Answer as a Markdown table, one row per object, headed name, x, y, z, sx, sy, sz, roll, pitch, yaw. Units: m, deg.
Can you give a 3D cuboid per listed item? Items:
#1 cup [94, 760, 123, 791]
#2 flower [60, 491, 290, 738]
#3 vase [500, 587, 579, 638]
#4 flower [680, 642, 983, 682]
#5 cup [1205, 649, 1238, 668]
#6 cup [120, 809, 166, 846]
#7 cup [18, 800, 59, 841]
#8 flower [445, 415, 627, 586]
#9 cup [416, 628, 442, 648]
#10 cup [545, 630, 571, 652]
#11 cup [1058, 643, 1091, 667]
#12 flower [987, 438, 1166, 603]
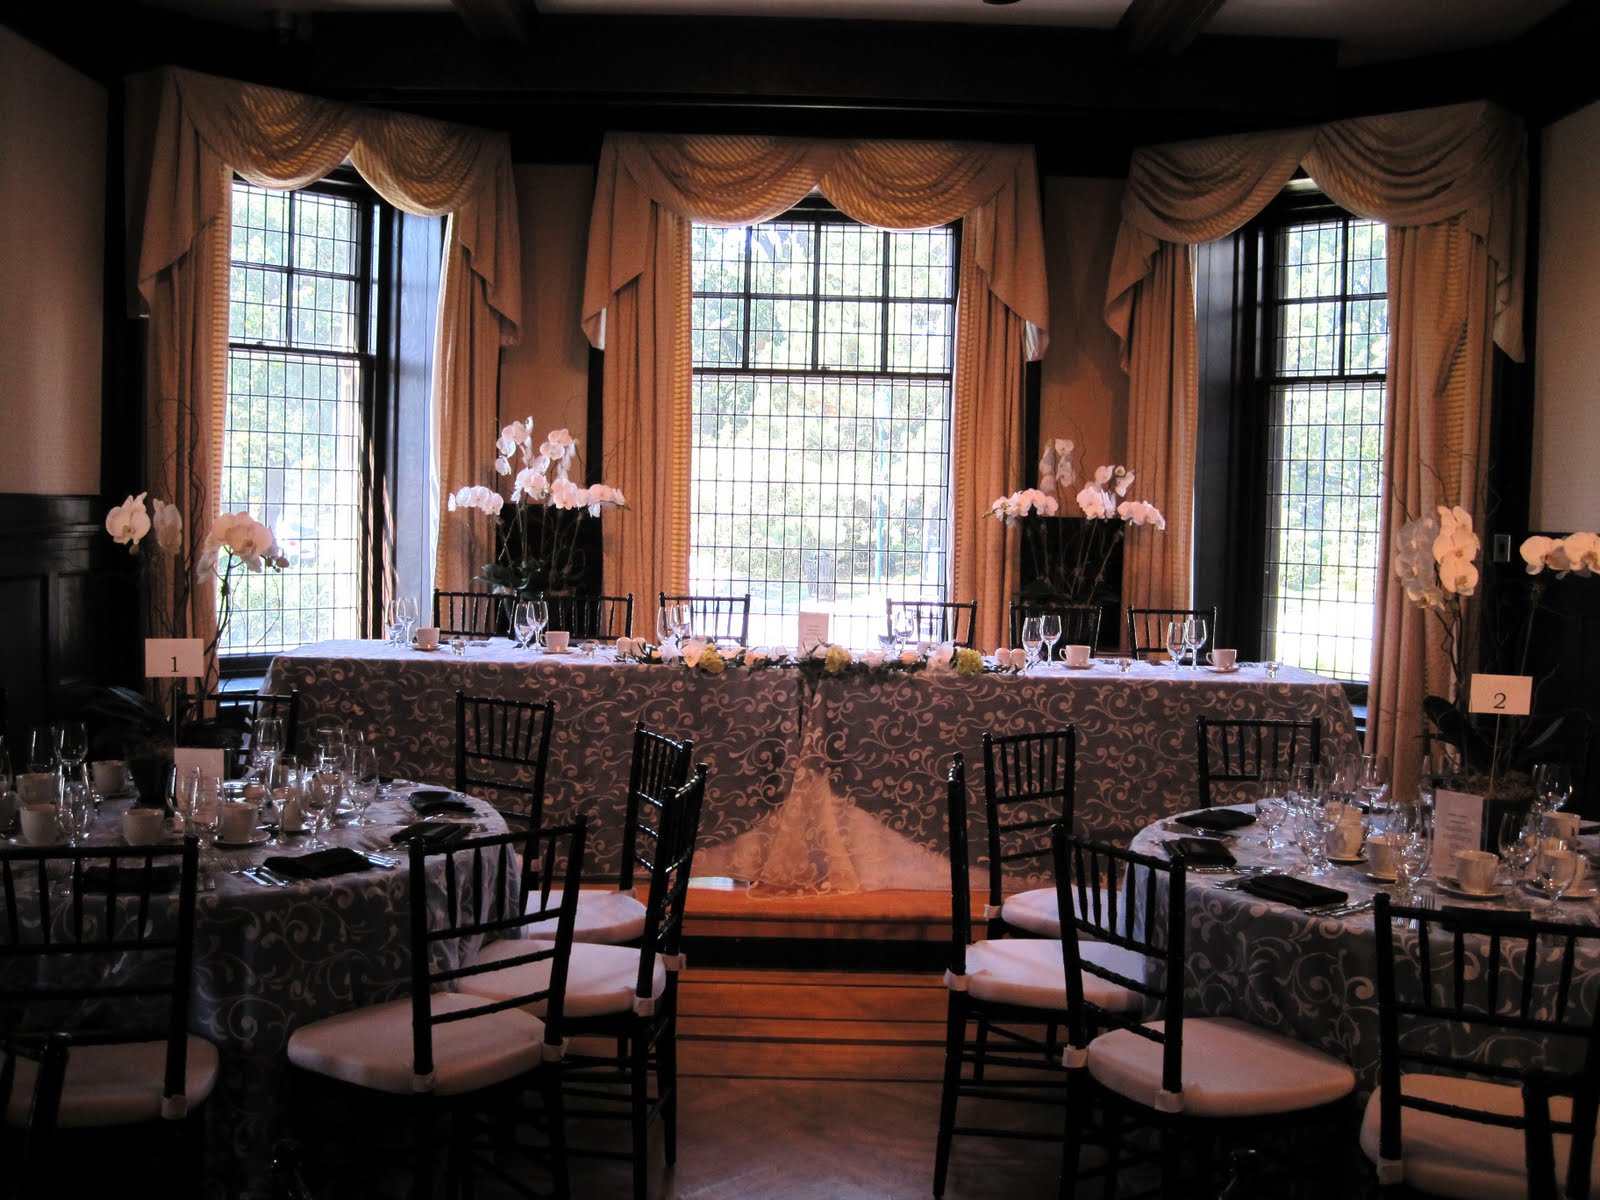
| name | x | y | z | sx | sy | sz | roll | pitch | yaw |
| --- | --- | --- | --- | --- | --- | --- | --- | --- | --- |
| cup | -2.247 | 0.569 | 4.374 | 0.082 | 0.077 | 0.094 | 1 | 7 | -1 |
| flower | -2.064 | 0.088 | 4.540 | 0.577 | 0.884 | 0.544 | 5 | 2 | -11 |
| vase | -1.407 | 0.060 | 7.120 | 0.344 | 0.426 | 0.351 | 1 | 0 | 8 |
| flower | 0.158 | 0.259 | 5.920 | 1.352 | 0.140 | 0.315 | 0 | 1 | 1 |
| cup | 1.942 | 0.262 | 6.241 | 0.109 | 0.095 | 0.093 | 0 | 2 | 25 |
| cup | -1.847 | 0.642 | 3.786 | 0.104 | 0.101 | 0.122 | 4 | 8 | -1 |
| cup | -2.117 | 0.613 | 3.764 | 0.088 | 0.089 | 0.102 | 8 | 9 | 36 |
| flower | -1.479 | -0.433 | 7.548 | 0.905 | 1.019 | 0.903 | 1 | -1 | -21 |
| cup | -1.759 | 0.182 | 6.360 | 0.099 | 0.089 | 0.092 | 3 | 6 | 0 |
| cup | -1.141 | 0.197 | 6.321 | 0.099 | 0.089 | 0.093 | 1 | -7 | 0 |
| cup | 1.280 | 0.254 | 6.257 | 0.085 | 0.081 | 0.113 | -1 | -2 | -6 |
| flower | 1.555 | -0.441 | 7.509 | 0.920 | 1.008 | 0.979 | 3 | -7 | -10 |
